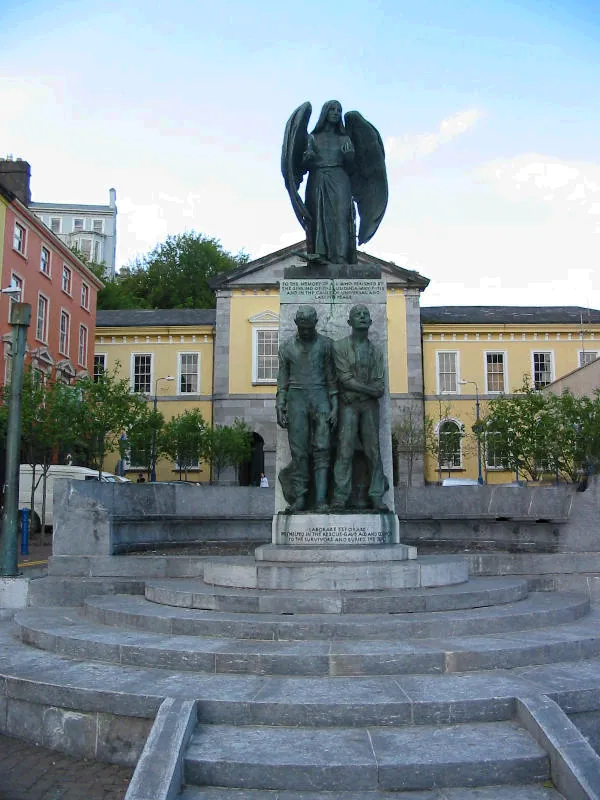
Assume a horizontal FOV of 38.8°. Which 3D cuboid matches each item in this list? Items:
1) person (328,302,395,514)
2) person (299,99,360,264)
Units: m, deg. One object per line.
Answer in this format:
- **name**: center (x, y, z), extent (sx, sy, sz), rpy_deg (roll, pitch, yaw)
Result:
- **person**: center (0.695, 0.096, 10.000), extent (0.677, 2.412, 0.531), rpy_deg (0, -2, 2)
- **person**: center (0.390, -2.807, 11.137), extent (0.694, 2.166, 0.577), rpy_deg (0, -2, 0)
